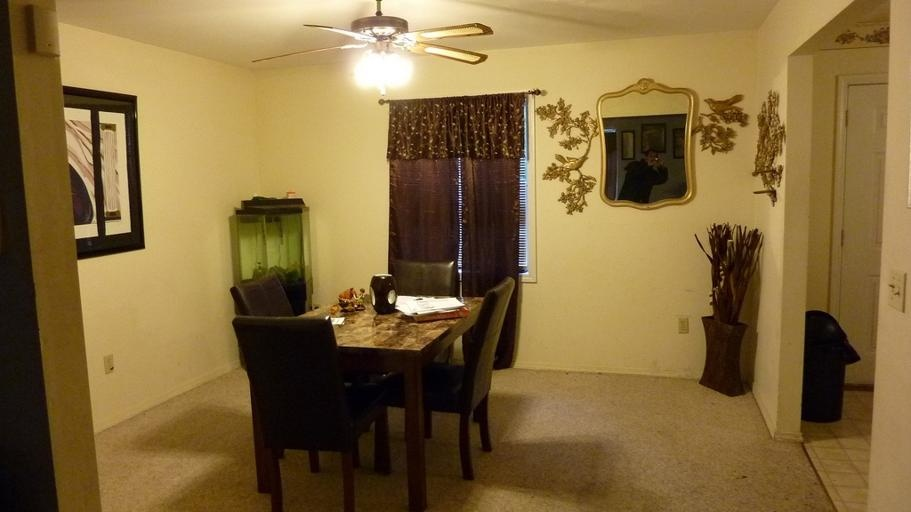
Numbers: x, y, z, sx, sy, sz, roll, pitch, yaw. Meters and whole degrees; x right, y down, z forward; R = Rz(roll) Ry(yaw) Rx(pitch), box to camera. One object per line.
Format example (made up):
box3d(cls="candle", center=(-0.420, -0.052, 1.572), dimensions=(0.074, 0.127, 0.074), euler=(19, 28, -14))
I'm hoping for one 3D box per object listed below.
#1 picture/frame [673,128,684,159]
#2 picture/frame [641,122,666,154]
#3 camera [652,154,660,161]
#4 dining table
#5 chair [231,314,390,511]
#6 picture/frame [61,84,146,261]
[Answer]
box3d(cls="picture/frame", center=(2.128, -1.074, 6.207), dimensions=(0.106, 0.286, 0.042), euler=(-1, 10, -2))
box3d(cls="picture/frame", center=(1.909, -1.136, 6.237), dimensions=(0.336, 0.367, 0.033), euler=(2, 2, 11))
box3d(cls="camera", center=(1.933, -0.940, 6.245), dimensions=(0.068, 0.058, 0.024), euler=(4, 1, 18))
box3d(cls="dining table", center=(-0.302, 0.856, 5.039), dimensions=(1.448, 1.035, 1.818), euler=(-1, 7, 10))
box3d(cls="chair", center=(-0.984, 1.102, 4.559), dimensions=(0.988, 1.482, 0.600), euler=(-3, 10, -10))
box3d(cls="picture/frame", center=(-3.072, -0.730, 5.703), dimensions=(0.136, 1.431, 0.683), euler=(5, 12, 33))
